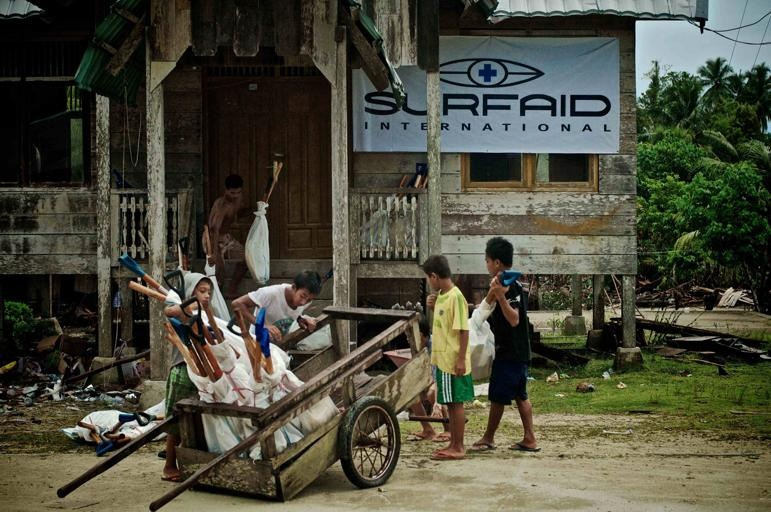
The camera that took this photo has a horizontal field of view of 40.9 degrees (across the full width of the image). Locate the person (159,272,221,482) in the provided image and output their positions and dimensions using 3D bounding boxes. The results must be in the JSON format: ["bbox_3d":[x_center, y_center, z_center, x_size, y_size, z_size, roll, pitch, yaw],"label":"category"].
[{"bbox_3d":[-2.853,1.868,15.690,0.973,2.968,0.988,3,-3,-33],"label":"person"}]

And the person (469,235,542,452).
[{"bbox_3d":[1.930,1.398,16.260,0.886,3.438,0.947,0,-1,8],"label":"person"}]
